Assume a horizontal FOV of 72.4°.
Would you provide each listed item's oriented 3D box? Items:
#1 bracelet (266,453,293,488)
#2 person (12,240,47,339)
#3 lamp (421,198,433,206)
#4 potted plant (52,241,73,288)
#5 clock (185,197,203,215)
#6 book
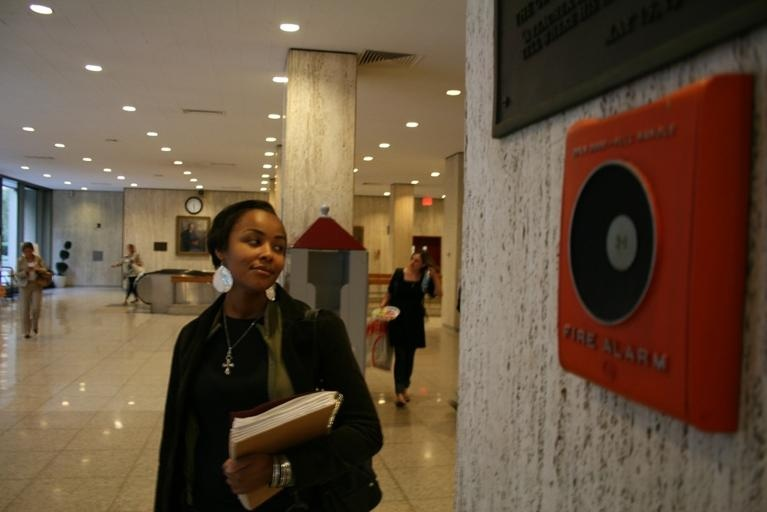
[{"bbox_3d":[-0.253,0.526,1.285,0.030,0.073,0.055,-3,-39,-4],"label":"bracelet"},{"bbox_3d":[-5.897,0.547,8.855,0.439,1.539,1.225,1,1,-34],"label":"person"},{"bbox_3d":[1.499,-1.915,17.700,0.402,0.294,0.407,0,-7,-4],"label":"lamp"},{"bbox_3d":[-11.723,0.286,19.269,0.533,1.673,0.823,1,1,-32],"label":"potted plant"},{"bbox_3d":[-7.004,-1.867,19.367,0.619,0.703,0.096,3,2,-15],"label":"clock"},{"bbox_3d":[-0.242,0.404,1.286,0.284,0.291,0.104,-10,45,-35],"label":"book"}]
